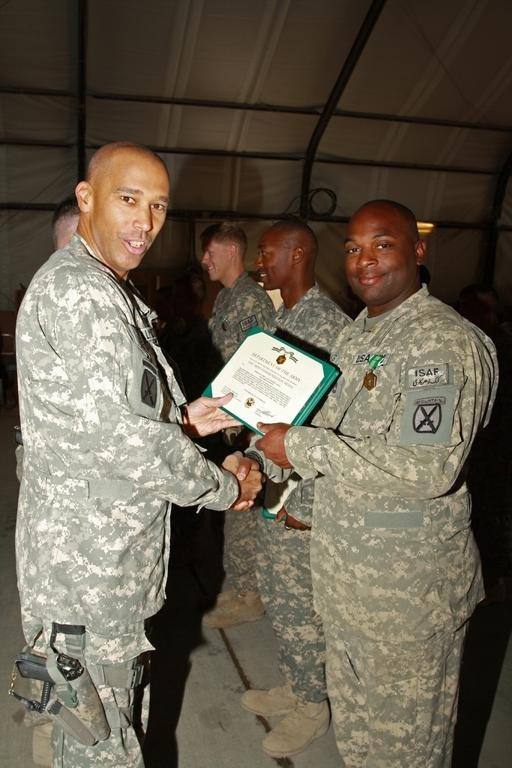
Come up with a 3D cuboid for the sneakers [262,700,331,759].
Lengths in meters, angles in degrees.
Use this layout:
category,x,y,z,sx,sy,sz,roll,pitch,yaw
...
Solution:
category,x,y,z,sx,sy,sz,roll,pitch,yaw
sneakers,0.160,1.257,2.467,0.279,0.154,0.097,-4,11,-38
